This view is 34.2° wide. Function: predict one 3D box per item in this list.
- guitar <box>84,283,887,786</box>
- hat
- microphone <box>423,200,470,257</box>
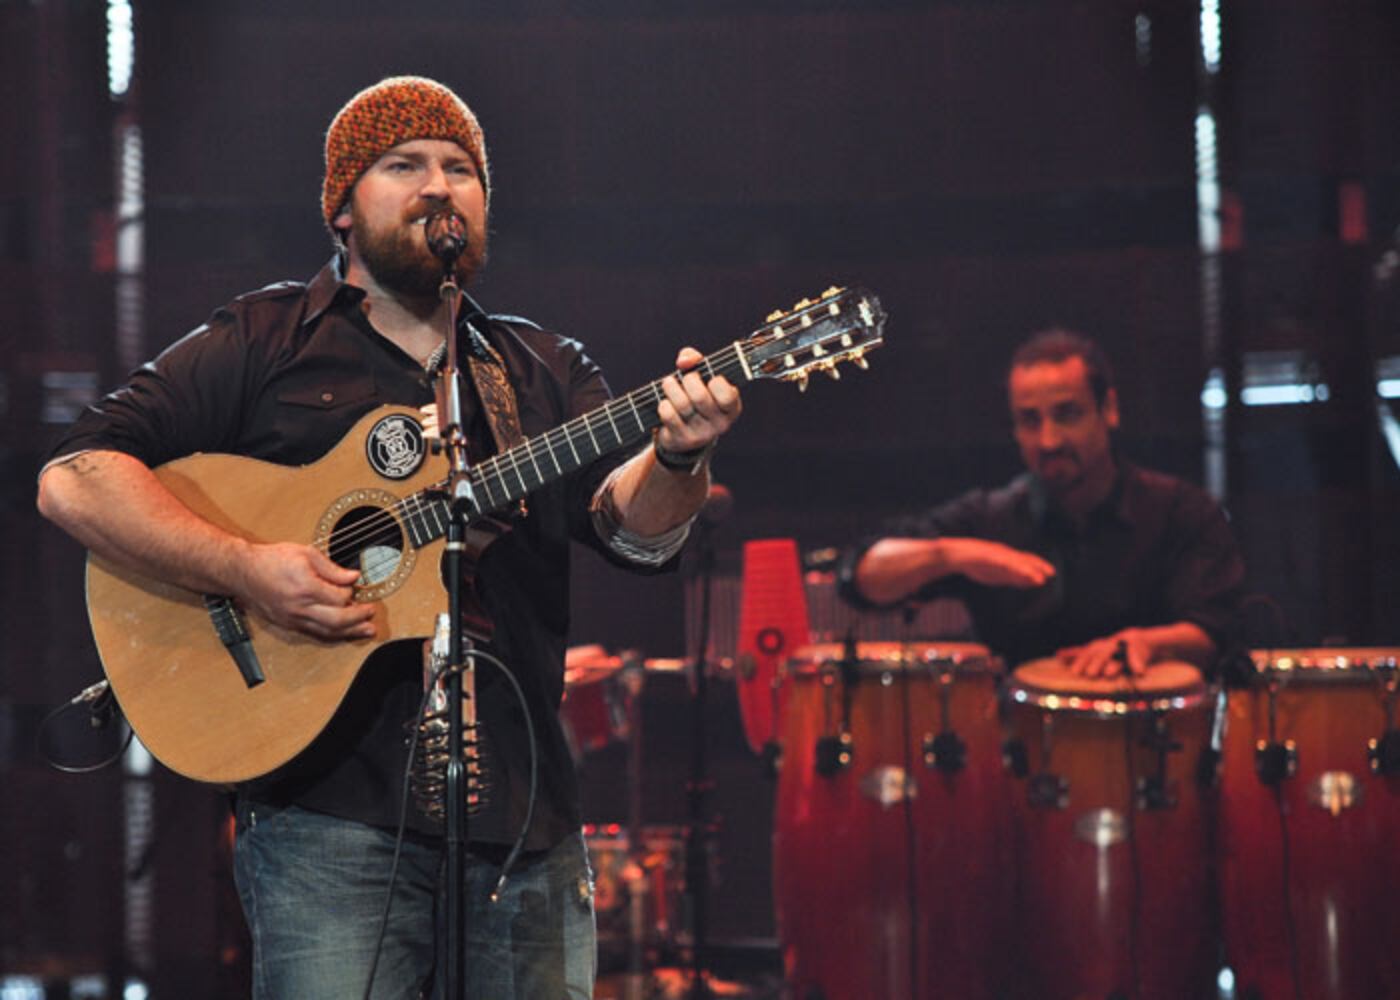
[{"bbox_3d":[-0.763,0.111,6.207,2.646,1.033,0.364,-20,-8,-5],"label":"guitar"},{"bbox_3d":[-0.875,-0.984,6.680,0.464,0.347,0.450,-3,-10,-21],"label":"hat"},{"bbox_3d":[-0.710,-0.754,6.381,0.110,0.073,0.200,-14,31,-4],"label":"microphone"}]
